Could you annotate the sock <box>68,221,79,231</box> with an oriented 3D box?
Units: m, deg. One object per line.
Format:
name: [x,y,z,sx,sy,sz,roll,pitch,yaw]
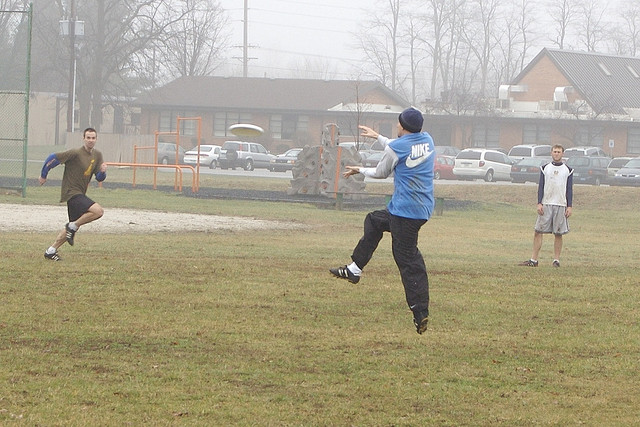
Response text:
sock: [-5.385,0.267,23.735,0.199,0.172,0.165,2,3,-10]

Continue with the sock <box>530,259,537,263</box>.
sock: [4.932,1.063,25.169,0.118,0.059,0.098,3,4,12]

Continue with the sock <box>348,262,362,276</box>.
sock: [0.682,1.071,21.268,0.170,0.129,0.365,7,37,-26]

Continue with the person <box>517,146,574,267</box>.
person: [5.231,-0.183,25.389,1.430,2.882,0.669,3,-6,-8]
